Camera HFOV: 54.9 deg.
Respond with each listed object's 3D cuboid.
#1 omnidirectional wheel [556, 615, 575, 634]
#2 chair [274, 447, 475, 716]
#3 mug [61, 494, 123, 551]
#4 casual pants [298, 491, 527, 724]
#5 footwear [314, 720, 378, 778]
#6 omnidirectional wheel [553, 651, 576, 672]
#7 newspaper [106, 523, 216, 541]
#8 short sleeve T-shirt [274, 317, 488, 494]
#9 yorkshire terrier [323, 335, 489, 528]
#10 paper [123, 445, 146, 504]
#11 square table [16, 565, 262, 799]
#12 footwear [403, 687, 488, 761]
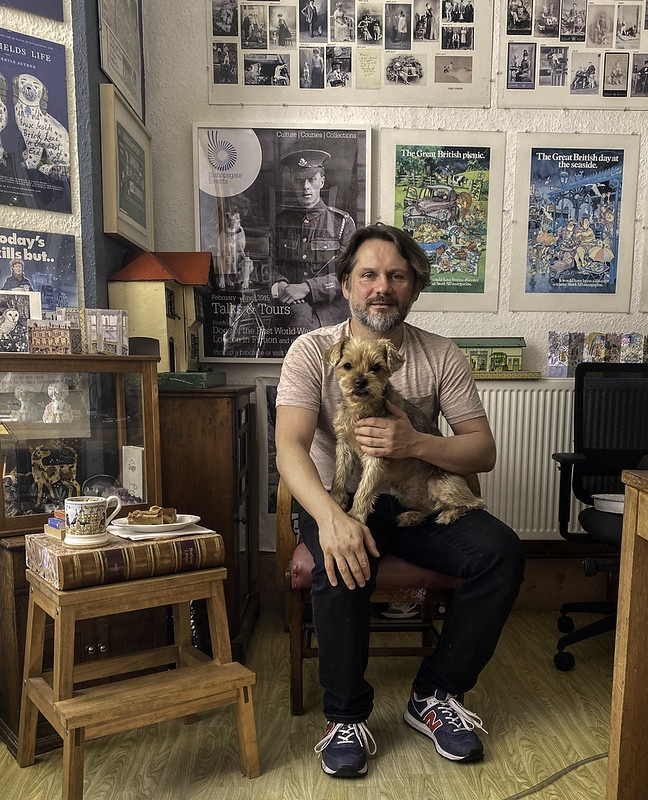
[{"bbox_3d":[0.991,0.943,2.573,0.061,0.036,0.092,1,-1,-5],"label":"omnidirectional wheel"},{"bbox_3d":[0.174,0.425,2.077,0.588,1.031,0.620,2,12,9],"label":"chair"},{"bbox_3d":[-0.570,0.301,1.547,0.129,0.127,0.111,0,-3,-10],"label":"mug"},{"bbox_3d":[0.246,0.593,1.871,0.514,0.724,0.551,11,0,-2],"label":"casual pants"},{"bbox_3d":[0.063,0.964,1.729,0.150,0.136,0.327,-1,-18,2],"label":"footwear"},{"bbox_3d":[0.871,0.968,2.278,0.059,0.088,0.046,-9,6,9],"label":"omnidirectional wheel"},{"bbox_3d":[-0.425,0.353,1.643,0.265,0.020,0.132,0,0,-18],"label":"newspaper"},{"bbox_3d":[0.163,-0.073,2.091,0.820,0.724,0.444,0,-6,-3],"label":"short sleeve T-shirt"},{"bbox_3d":[0.244,0.142,1.848,0.706,0.487,0.263,16,-4,-41],"label":"yorkshire terrier"},{"bbox_3d":[-0.565,0.237,1.868,0.078,0.185,0.020,8,14,22],"label":"paper"},{"bbox_3d":[-0.496,0.634,1.723,0.638,0.689,0.515,0,-6,-31],"label":"square table"},{"bbox_3d":[0.344,0.913,1.792,0.104,0.121,0.255,2,-2,-23],"label":"footwear"}]
